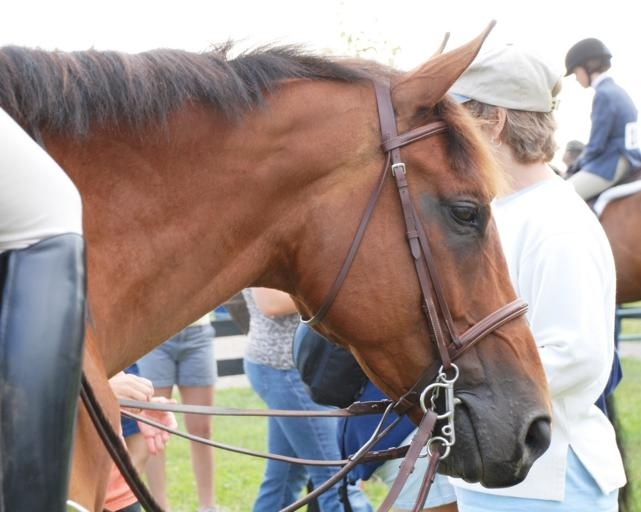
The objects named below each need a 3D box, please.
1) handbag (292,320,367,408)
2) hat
[{"bbox_3d":[0.014,0.381,3.451,0.269,0.402,0.221,1,-13,33],"label":"handbag"},{"bbox_3d":[0.717,-0.721,3.536,0.540,0.278,0.378,3,8,0],"label":"hat"}]
